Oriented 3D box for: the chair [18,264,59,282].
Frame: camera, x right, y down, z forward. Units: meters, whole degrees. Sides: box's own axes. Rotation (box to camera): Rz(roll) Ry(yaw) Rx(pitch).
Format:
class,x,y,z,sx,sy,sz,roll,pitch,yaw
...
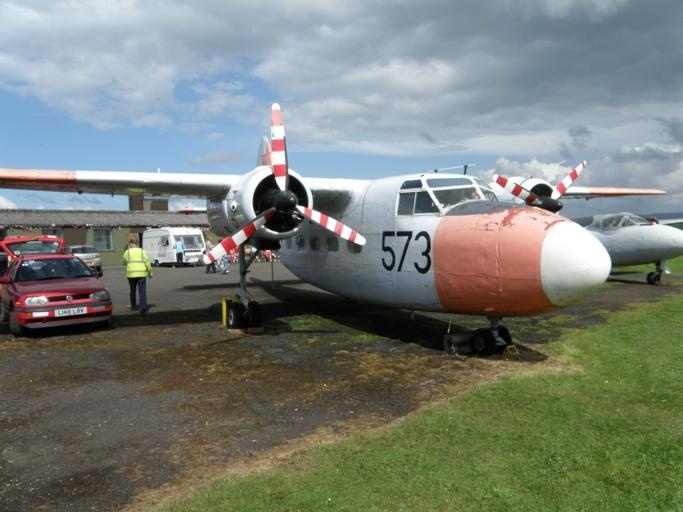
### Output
class,x,y,z,sx,sy,sz,roll,pitch,yaw
chair,-7.102,0.400,11.300,0.436,0.250,0.673,4,-13,-42
